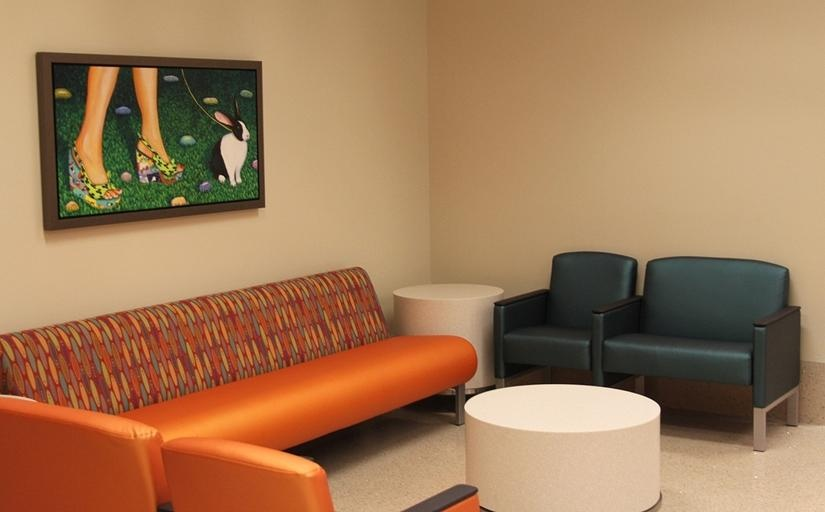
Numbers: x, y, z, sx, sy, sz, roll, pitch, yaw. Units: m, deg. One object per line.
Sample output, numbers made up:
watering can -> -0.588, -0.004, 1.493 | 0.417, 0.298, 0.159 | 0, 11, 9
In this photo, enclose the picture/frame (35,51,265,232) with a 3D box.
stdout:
picture/frame -> -1.819, -0.782, 4.500 | 1.349, 0.867, 0.090 | -10, 15, -43
